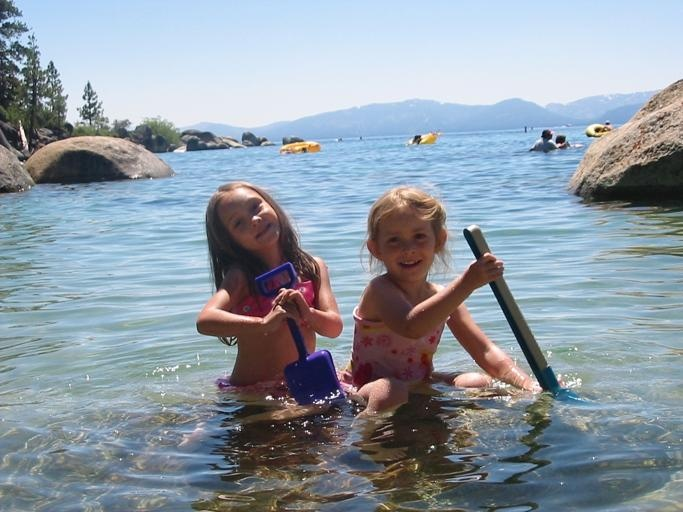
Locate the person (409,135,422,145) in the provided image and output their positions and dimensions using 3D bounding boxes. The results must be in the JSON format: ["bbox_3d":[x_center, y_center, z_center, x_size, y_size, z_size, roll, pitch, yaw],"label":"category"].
[{"bbox_3d":[5.273,-8.235,45.028,1.025,0.321,1.114,1,-9,3],"label":"person"}]

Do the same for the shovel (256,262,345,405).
[{"bbox_3d":[-0.253,0.435,3.617,0.331,0.773,0.433,-11,14,-14],"label":"shovel"}]
